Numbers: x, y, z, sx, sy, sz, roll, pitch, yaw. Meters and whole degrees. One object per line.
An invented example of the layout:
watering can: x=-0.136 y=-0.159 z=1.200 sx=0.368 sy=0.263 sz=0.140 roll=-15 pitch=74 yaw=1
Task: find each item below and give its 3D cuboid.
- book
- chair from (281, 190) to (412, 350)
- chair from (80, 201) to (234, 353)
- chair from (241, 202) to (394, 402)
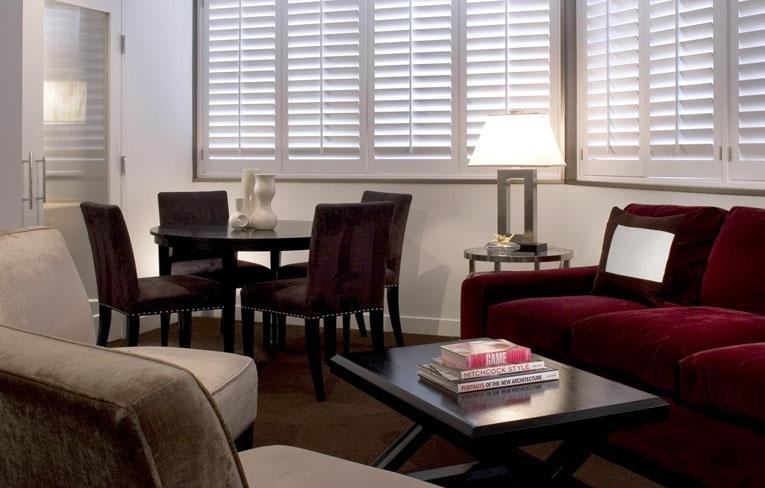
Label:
book: x=0.367 y=0.417 z=1.930 sx=0.294 sy=0.074 sz=0.211 roll=-2 pitch=3 yaw=-25
chair: x=-0.415 y=0.370 z=3.907 sx=0.841 sy=1.243 sz=0.862 roll=-2 pitch=1 yaw=-43
chair: x=-1.444 y=0.237 z=3.516 sx=0.590 sy=0.933 sz=0.719 roll=8 pitch=6 yaw=41
chair: x=-0.397 y=0.274 z=3.460 sx=0.921 sy=1.030 sz=0.872 roll=1 pitch=4 yaw=-3
